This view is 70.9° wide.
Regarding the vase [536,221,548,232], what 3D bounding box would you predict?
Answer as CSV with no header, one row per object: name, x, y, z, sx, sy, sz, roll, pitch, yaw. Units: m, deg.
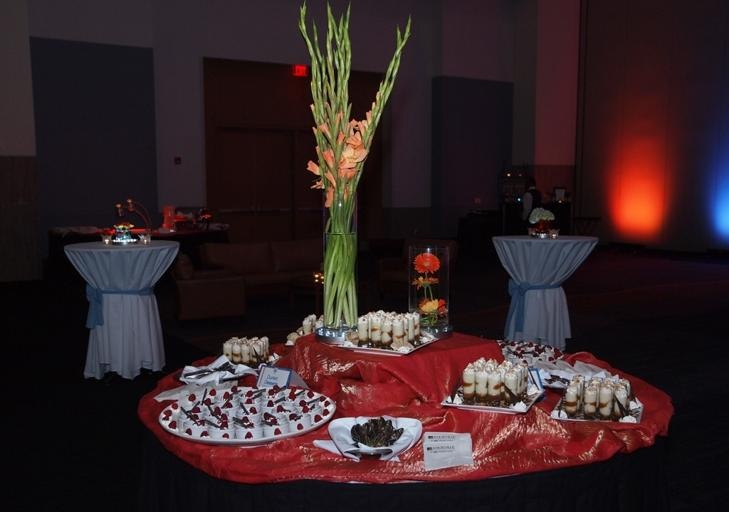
vase,1.840,-0.313,5.284,0.101,0.121,0.106,-1,-6,4

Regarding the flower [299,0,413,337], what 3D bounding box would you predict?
flower,-0.082,-0.485,2.858,0.517,1.836,0.443,-1,8,-7

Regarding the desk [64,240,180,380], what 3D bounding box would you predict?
desk,-2.240,0.454,4.770,0.879,1.131,0.854,0,8,-14

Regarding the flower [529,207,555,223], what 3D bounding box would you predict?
flower,1.864,-0.430,5.431,0.206,0.112,0.220,0,1,11

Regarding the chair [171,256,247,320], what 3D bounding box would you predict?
chair,-2.124,0.312,6.983,0.830,0.829,0.824,-2,7,-16

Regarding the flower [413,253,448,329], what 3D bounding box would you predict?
flower,0.379,0.184,3.031,0.220,0.440,0.355,1,8,7
